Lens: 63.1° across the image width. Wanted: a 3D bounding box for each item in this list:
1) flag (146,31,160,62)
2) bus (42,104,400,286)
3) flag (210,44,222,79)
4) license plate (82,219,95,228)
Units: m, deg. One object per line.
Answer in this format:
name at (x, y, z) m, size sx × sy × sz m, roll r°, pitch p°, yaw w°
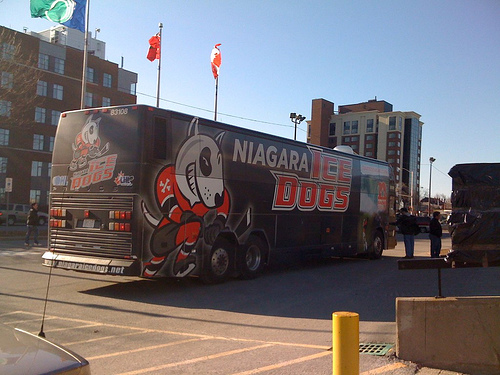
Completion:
flag at (-6.828, -10.212, 29.380) m, size 0.868 × 1.985 × 0.758 m, roll 7°, pitch 1°, yaw -17°
bus at (0.890, 0.652, 15.925) m, size 3.966 × 5.311 × 15.190 m, roll -3°, pitch -6°, yaw 41°
flag at (-2.596, -9.694, 31.040) m, size 0.687 × 2.386 × 2.107 m, roll 7°, pitch 2°, yaw -9°
license plate at (-4.104, 0.910, 10.412) m, size 0.224 × 0.245 × 0.065 m, roll 2°, pitch -11°, yaw 26°
